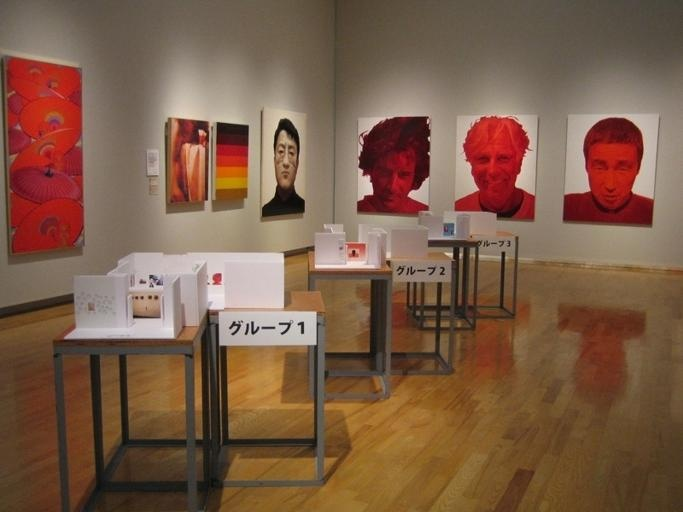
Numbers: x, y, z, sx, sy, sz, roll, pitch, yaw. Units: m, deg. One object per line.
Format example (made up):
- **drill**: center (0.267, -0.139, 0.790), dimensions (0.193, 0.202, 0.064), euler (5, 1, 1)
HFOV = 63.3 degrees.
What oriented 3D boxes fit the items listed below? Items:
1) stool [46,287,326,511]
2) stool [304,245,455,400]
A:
- **stool**: center (-1.093, 1.100, 4.336), dimensions (1.564, 1.458, 1.617), euler (0, 7, -2)
- **stool**: center (0.372, 0.716, 6.095), dimensions (1.262, 1.450, 1.498), euler (1, 2, 6)
